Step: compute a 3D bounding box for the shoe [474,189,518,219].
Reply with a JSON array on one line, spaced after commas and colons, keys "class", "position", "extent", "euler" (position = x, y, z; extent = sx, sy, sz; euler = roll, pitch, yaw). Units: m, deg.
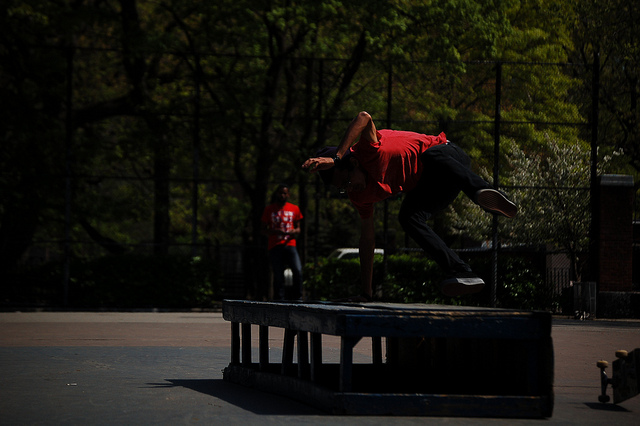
[{"class": "shoe", "position": [2.957, -0.181, 18.010], "extent": [0.752, 0.343, 0.308], "euler": [24, 9, 1]}]

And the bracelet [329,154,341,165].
[{"class": "bracelet", "position": [0.256, -0.918, 18.005], "extent": [0.166, 0.157, 0.164], "euler": [1, 2, 20]}]

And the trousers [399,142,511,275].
[{"class": "trousers", "position": [3.073, -0.126, 23.574], "extent": [1.975, 1.570, 3.312], "euler": [16, 10, -9]}]

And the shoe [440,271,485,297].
[{"class": "shoe", "position": [2.401, 1.183, 17.958], "extent": [0.740, 0.340, 0.309], "euler": [0, 36, -4]}]

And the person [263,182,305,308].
[{"class": "person", "position": [-0.800, 0.803, 25.008], "extent": [0.765, 2.869, 1.540], "euler": [-1, 10, -2]}]
